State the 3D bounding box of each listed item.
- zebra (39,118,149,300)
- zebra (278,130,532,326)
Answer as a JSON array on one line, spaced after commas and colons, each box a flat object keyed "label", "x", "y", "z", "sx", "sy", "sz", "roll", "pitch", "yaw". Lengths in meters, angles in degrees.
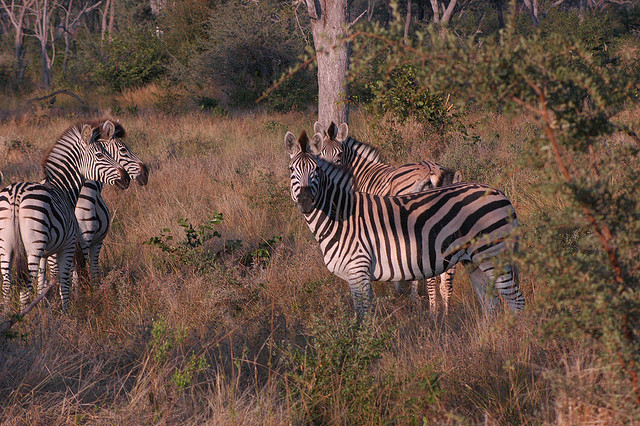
[{"label": "zebra", "x": -4.544, "y": 0.005, "z": 16.357, "sx": 3.454, "sy": 3.081, "sz": 1.061, "roll": -8, "pitch": 12, "yaw": 41}, {"label": "zebra", "x": 1.370, "y": 0.541, "z": 15.336, "sx": 4.500, "sy": 1.471, "sz": 3.542, "roll": -1, "pitch": 80, "yaw": 15}]
